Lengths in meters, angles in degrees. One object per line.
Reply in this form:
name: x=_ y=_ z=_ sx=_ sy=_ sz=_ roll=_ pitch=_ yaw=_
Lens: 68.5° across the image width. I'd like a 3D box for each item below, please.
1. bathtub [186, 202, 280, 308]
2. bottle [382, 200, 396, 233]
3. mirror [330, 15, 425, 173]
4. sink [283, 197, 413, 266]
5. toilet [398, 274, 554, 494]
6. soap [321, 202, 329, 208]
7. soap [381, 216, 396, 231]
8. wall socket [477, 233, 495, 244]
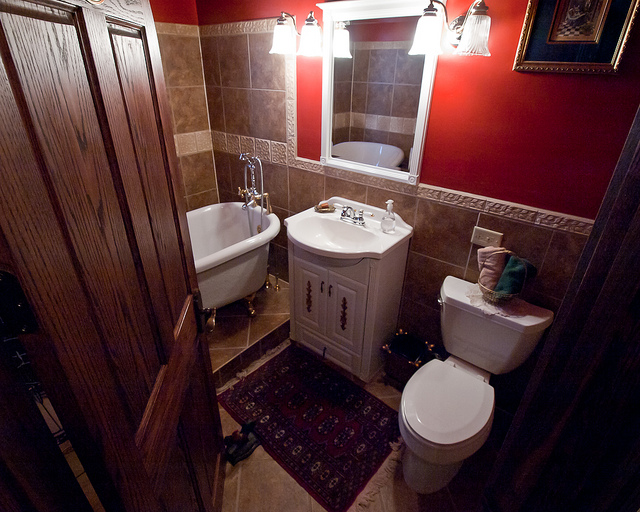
bathtub: x=-0.525 y=-0.088 z=2.869 sx=0.499 sy=0.335 sz=0.732 roll=20 pitch=31 yaw=32
bottle: x=0.361 y=-0.199 z=2.430 sx=0.077 sy=0.195 sz=0.078 roll=-3 pitch=33 yaw=2
mirror: x=0.315 y=-0.844 z=2.362 sx=0.446 sy=0.694 sz=0.030 roll=4 pitch=29 yaw=6
sink: x=0.115 y=-0.093 z=2.501 sx=0.512 sy=0.274 sz=0.651 roll=-21 pitch=33 yaw=-40
toilet: x=0.635 y=0.645 z=2.139 sx=0.463 sy=0.834 sz=0.692 roll=22 pitch=36 yaw=28
soap: x=0.032 y=-0.287 z=2.667 sx=0.026 sy=0.031 sz=0.026 roll=0 pitch=-12 yaw=-2
soap: x=0.357 y=-0.169 z=2.410 sx=0.062 sy=0.070 sz=0.068 roll=-2 pitch=29 yaw=0
wall socket: x=0.779 y=-0.083 z=2.193 sx=0.078 sy=0.036 sz=0.004 roll=22 pitch=32 yaw=34
